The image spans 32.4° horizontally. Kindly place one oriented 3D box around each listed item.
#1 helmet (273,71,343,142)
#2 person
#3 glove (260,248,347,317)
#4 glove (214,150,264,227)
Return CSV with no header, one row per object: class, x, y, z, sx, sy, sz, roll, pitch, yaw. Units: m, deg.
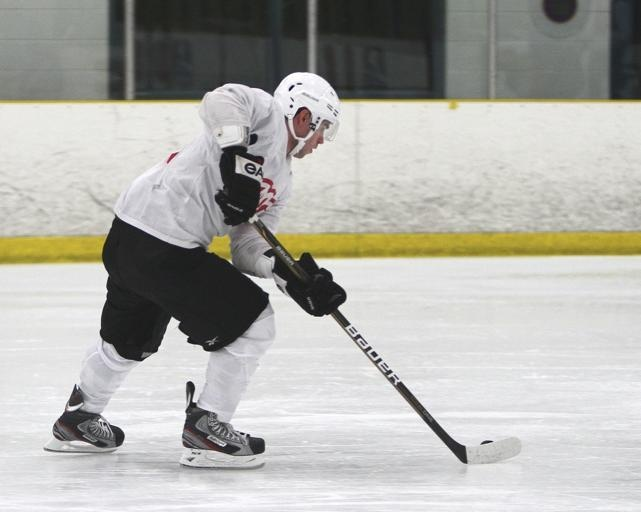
helmet,-0.099,-0.571,4.201,0.311,0.208,0.232,9,1,-35
person,-0.426,0.041,4.003,1.163,1.394,0.552,-4,14,-17
glove,-0.053,0.119,4.080,0.315,0.104,0.196,40,52,20
glove,-0.284,-0.240,3.921,0.101,0.246,0.196,29,7,-30
